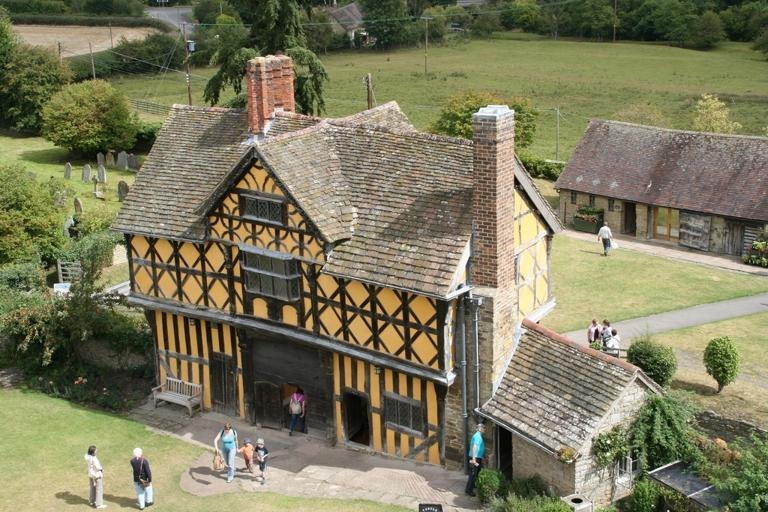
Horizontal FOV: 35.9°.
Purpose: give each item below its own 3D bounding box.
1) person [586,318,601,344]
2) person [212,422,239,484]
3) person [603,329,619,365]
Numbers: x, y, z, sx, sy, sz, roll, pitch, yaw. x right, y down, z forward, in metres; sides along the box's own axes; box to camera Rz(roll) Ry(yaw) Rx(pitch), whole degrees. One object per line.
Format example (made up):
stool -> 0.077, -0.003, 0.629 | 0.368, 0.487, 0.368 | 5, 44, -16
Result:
person -> 12.541, 4.526, 69.512 | 0.658, 1.729, 1.355 | 5, 23, 12
person -> -8.712, 10.571, 64.170 | 1.140, 3.072, 1.494 | -5, 23, -11
person -> 13.391, 5.077, 68.274 | 0.777, 1.471, 1.203 | 3, 23, 6
